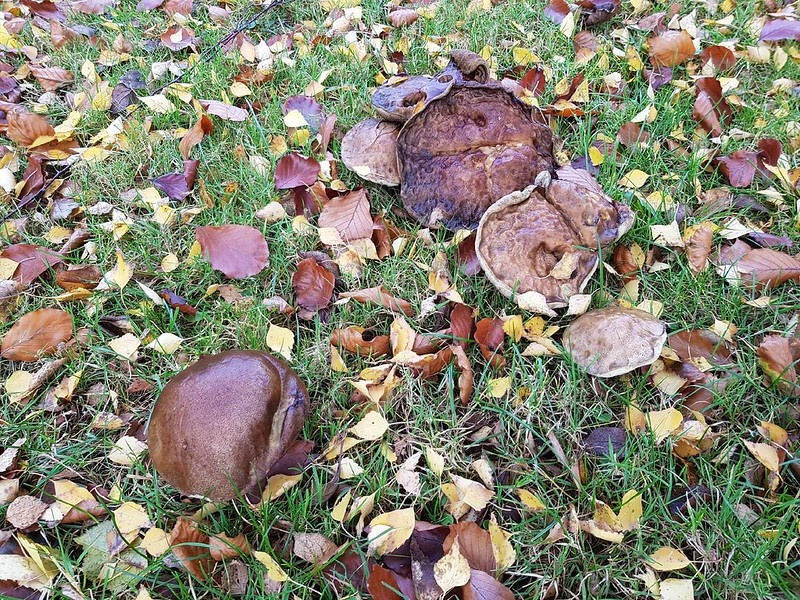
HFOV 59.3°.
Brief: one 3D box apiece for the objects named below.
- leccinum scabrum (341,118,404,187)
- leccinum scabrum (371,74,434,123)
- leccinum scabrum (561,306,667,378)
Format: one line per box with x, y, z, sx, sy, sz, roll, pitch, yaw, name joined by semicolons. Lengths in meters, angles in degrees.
-0.150;-0.776;3.362;0.286;0.233;0.423;-1;62;1;leccinum scabrum
0.004;-0.968;3.342;0.281;0.102;0.233;-43;54;-5;leccinum scabrum
0.859;0.156;2.832;0.382;0.111;0.332;19;64;11;leccinum scabrum
